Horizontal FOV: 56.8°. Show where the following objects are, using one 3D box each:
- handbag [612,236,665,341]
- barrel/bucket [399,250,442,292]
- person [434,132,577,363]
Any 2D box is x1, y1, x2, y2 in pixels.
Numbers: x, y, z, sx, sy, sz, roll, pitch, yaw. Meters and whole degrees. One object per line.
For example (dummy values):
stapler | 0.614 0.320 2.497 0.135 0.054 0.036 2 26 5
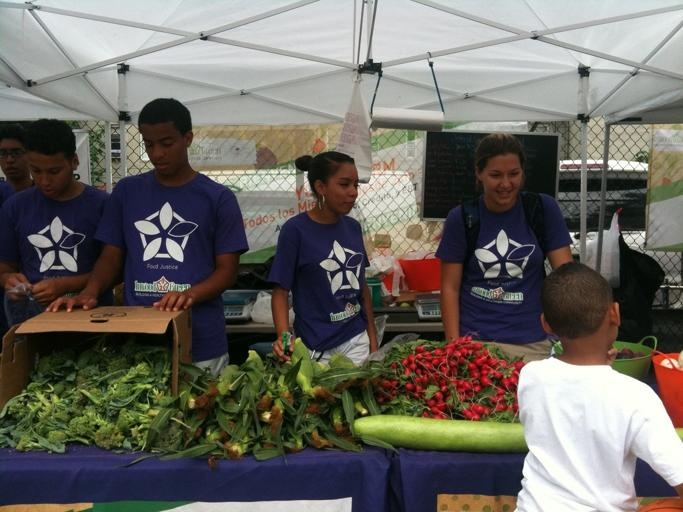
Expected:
handbag | 2.528 0.288 5.519 0.394 0.922 0.359 1 7 -2
barrel/bucket | 0.667 0.137 5.671 0.346 0.323 0.256 -3 11 -31
person | 0.904 -0.119 3.576 0.734 1.257 0.470 2 10 2
